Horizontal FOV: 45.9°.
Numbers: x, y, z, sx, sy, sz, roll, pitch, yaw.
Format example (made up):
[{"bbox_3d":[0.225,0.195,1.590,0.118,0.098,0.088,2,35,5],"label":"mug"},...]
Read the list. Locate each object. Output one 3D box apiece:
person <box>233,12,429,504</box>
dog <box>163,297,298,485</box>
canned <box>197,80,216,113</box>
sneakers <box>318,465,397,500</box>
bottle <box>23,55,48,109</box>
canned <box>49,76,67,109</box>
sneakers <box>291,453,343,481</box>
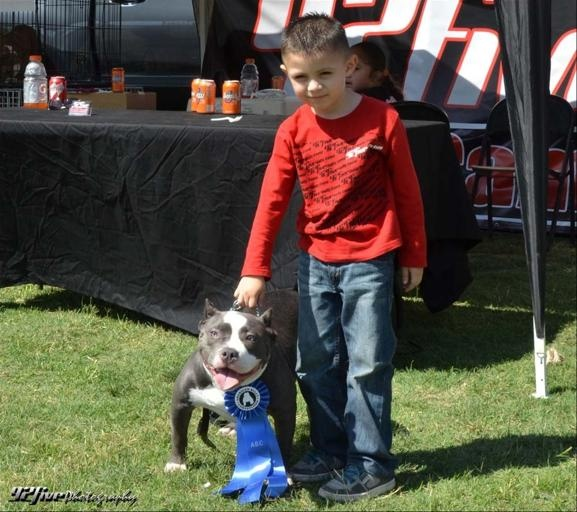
[{"bbox_3d":[0.137,0.128,2.258,0.576,1.321,0.324,5,14,22],"label":"person"},{"bbox_3d":[-0.171,0.431,2.460,0.439,0.596,0.778,4,7,6],"label":"dog"},{"bbox_3d":[-0.519,-1.000,4.327,0.113,0.204,0.197,-2,13,-7],"label":"canned"},{"bbox_3d":[0.227,0.752,2.286,0.254,0.108,0.100,-1,5,-8],"label":"sneakers"},{"bbox_3d":[-1.775,-1.201,4.764,0.171,0.367,0.331,-5,14,-20],"label":"bottle"},{"bbox_3d":[-1.598,-1.109,4.693,0.118,0.217,0.187,-5,14,-21],"label":"canned"},{"bbox_3d":[0.088,0.727,2.364,0.200,0.084,0.071,1,7,-4],"label":"sneakers"}]
